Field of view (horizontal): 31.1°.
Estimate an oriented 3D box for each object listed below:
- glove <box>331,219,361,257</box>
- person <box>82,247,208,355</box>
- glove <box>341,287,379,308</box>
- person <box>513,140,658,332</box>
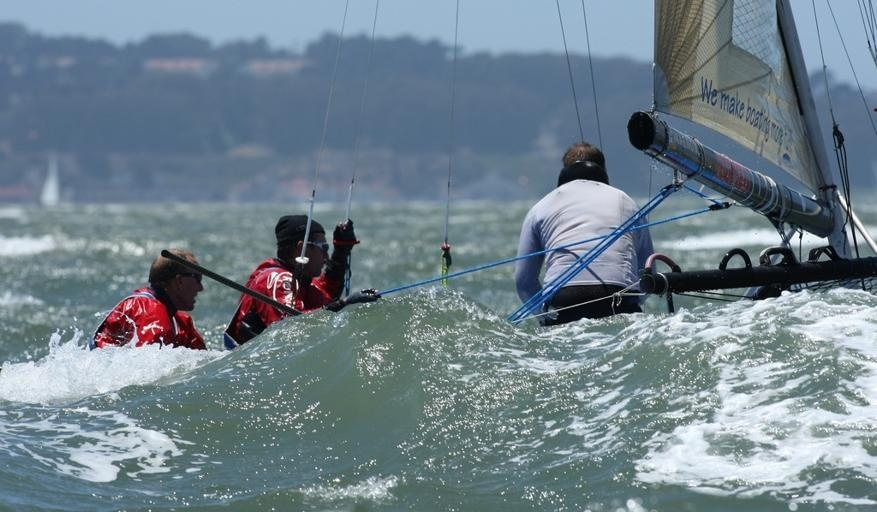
[{"bbox_3d":[-1.138,-0.221,18.876,0.301,0.438,0.149,14,34,-9],"label":"glove"},{"bbox_3d":[-3.284,0.615,18.314,1.188,1.686,1.419,14,-1,-12],"label":"person"},{"bbox_3d":[-0.871,0.462,17.726,0.414,0.188,0.216,-1,-1,-4],"label":"glove"},{"bbox_3d":[1.697,-0.288,18.520,1.577,2.178,0.873,-2,-1,7],"label":"person"}]
